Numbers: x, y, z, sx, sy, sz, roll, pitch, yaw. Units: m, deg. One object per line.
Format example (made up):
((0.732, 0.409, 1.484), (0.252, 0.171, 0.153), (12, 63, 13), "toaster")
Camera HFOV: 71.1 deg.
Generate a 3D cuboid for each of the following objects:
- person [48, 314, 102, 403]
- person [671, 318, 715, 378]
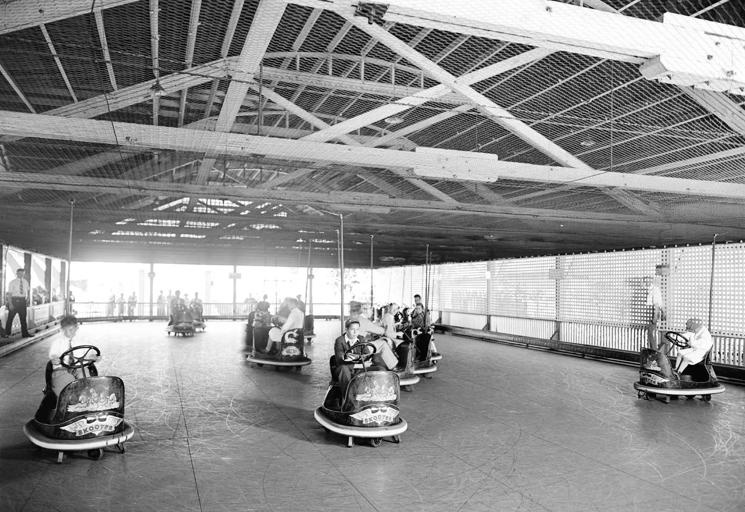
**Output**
((-4.309, 1.463, 7.599), (0.808, 1.108, 0.583), (6, 6, -32), "person")
((6.460, 1.860, 10.600), (0.620, 1.060, 0.511), (0, -1, 28), "person")
